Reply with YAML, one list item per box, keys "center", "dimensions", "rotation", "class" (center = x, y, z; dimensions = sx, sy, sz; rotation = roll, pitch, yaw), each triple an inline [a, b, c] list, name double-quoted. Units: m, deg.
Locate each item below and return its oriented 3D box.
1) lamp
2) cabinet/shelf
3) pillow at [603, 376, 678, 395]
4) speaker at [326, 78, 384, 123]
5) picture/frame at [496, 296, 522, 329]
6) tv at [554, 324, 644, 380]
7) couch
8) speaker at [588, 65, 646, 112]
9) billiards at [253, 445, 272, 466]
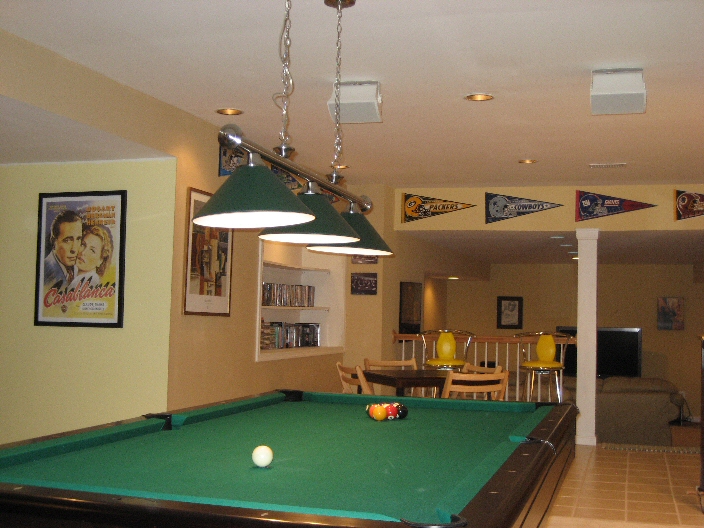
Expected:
- center: [-0.448, -0.975, 4.064]
  dimensions: [0.380, 1.211, 1.214]
  rotation: [-6, -23, 25]
  class: "lamp"
- center: [-0.855, 0.598, 7.772]
  dimensions: [0.477, 1.079, 1.432]
  rotation: [-8, -7, 30]
  class: "cabinet/shelf"
- center: [4.326, 1.871, 9.338]
  dimensions: [0.582, 0.124, 0.548]
  rotation: [1, -5, 0]
  class: "pillow"
- center: [0.017, -1.194, 4.515]
  dimensions: [0.404, 0.324, 0.311]
  rotation: [-1, -5, 7]
  class: "speaker"
- center: [3.391, 1.057, 13.062]
  dimensions: [0.793, 0.932, 0.077]
  rotation: [0, -12, 12]
  class: "picture/frame"
- center: [3.953, 1.425, 9.628]
  dimensions: [1.476, 0.905, 0.156]
  rotation: [0, -1, 16]
  class: "tv"
- center: [3.205, 1.812, 7.480]
  dimensions: [1.679, 0.770, 1.643]
  rotation: [-2, -8, 27]
  class: "couch"
- center: [1.871, -1.209, 4.263]
  dimensions: [0.336, 0.307, 0.199]
  rotation: [3, 6, 15]
  class: "speaker"
- center: [-0.360, 0.781, 2.493]
  dimensions: [0.083, 0.074, 0.081]
  rotation: [-5, -10, -21]
  class: "billiards"
